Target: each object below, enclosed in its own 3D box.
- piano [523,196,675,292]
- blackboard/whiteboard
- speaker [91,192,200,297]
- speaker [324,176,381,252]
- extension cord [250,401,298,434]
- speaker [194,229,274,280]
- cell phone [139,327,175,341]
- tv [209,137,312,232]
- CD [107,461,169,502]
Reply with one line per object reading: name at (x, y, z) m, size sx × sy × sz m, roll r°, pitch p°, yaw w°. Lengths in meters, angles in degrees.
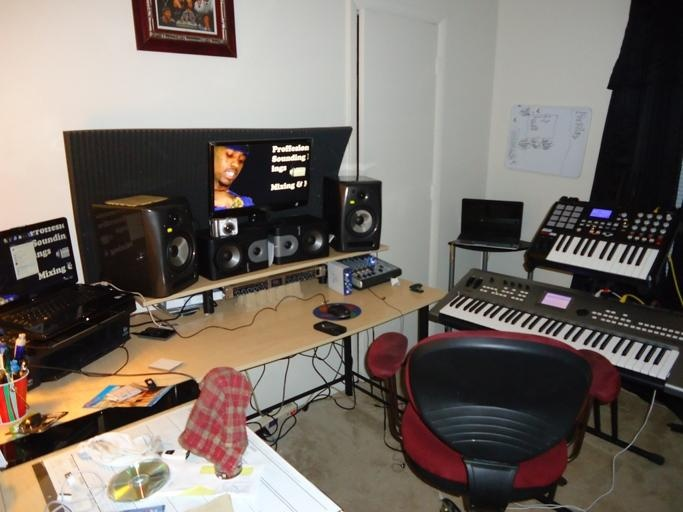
piano at (1.426, -0.195, 2.742) m, size 0.640 × 0.512 × 0.537 m, roll 13°, pitch 19°, yaw 35°
blackboard/whiteboard at (1.602, -0.889, 3.909) m, size 0.090 × 0.548 × 0.609 m, roll -11°, pitch 22°, yaw -44°
speaker at (-0.959, -0.118, 2.491) m, size 0.338 × 0.529 × 0.396 m, roll 16°, pitch 19°, yaw 40°
speaker at (0.063, -0.266, 3.118) m, size 0.292 × 0.481 × 0.289 m, roll -5°, pitch 17°, yaw -29°
extension cord at (-0.439, 1.061, 3.324) m, size 0.335 × 0.135 × 0.195 m, roll -24°, pitch 40°, yaw 15°
speaker at (-0.568, -0.132, 2.690) m, size 0.237 × 0.293 × 0.417 m, roll 15°, pitch 21°, yaw 43°
cell phone at (-0.916, 0.387, 2.539) m, size 0.104 × 0.027 × 0.080 m, roll 6°, pitch 19°, yaw 8°
tv at (-0.424, -0.422, 2.745) m, size 0.115 × 0.452 × 0.546 m, roll 19°, pitch 20°, yaw 41°
CD at (-0.672, 0.753, 1.689) m, size 0.193 × 0.043 × 0.128 m, roll -12°, pitch 24°, yaw -29°
